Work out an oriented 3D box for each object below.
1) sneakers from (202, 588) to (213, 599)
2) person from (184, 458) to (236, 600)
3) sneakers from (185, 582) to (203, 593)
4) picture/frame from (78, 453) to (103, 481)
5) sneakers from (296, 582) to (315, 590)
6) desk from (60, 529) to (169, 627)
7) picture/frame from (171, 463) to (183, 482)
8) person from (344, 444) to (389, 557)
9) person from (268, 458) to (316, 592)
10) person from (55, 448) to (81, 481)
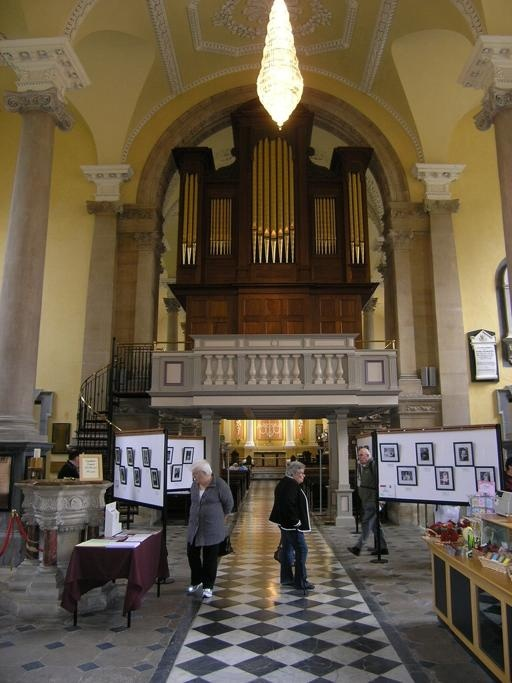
[{"bbox_3d":[-0.476,2.471,5.131,0.055,0.062,0.148,0,-24,2],"label":"sneakers"},{"bbox_3d":[-0.460,1.863,5.202,0.414,1.317,0.636,3,-15,-7],"label":"person"},{"bbox_3d":[-0.629,2.528,5.349,0.073,0.079,0.191,2,-6,3],"label":"sneakers"},{"bbox_3d":[-1.577,1.204,5.000,0.330,0.278,0.033,19,-30,-38],"label":"picture/frame"},{"bbox_3d":[0.506,2.537,5.408,0.146,0.055,0.106,1,-5,-36],"label":"sneakers"},{"bbox_3d":[-1.210,1.987,4.387,0.357,0.325,0.859,-1,-9,1],"label":"desk"},{"bbox_3d":[-1.159,1.909,7.644,0.031,0.312,0.324,-3,-6,25],"label":"picture/frame"},{"bbox_3d":[1.609,2.311,7.702,0.534,1.529,1.781,-2,-14,12],"label":"person"},{"bbox_3d":[0.373,1.945,5.580,0.435,1.300,0.899,0,-14,4],"label":"person"},{"bbox_3d":[-2.859,1.895,8.030,0.245,0.363,1.034,6,-14,-19],"label":"person"}]
